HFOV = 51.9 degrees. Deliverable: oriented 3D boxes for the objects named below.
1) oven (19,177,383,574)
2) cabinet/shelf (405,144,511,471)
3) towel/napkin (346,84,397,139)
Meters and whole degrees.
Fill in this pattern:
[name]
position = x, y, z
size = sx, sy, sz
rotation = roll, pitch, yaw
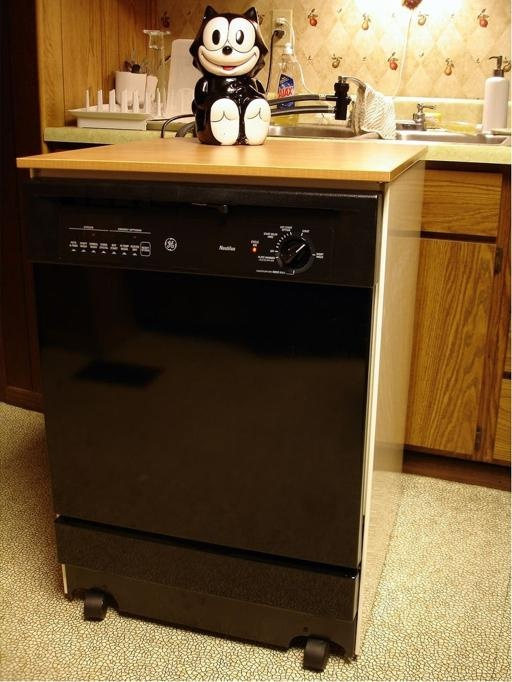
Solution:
[oven]
position = -0.053, 0.052, 0.867
size = 0.478, 0.637, 0.404
rotation = 4, 13, 8
[cabinet/shelf]
position = 0.513, -0.048, 1.276
size = 0.253, 0.739, 0.125
rotation = 3, 10, 17
[towel/napkin]
position = 0.325, -0.653, 1.462
size = 0.120, 0.173, 0.145
rotation = -18, 32, -29
